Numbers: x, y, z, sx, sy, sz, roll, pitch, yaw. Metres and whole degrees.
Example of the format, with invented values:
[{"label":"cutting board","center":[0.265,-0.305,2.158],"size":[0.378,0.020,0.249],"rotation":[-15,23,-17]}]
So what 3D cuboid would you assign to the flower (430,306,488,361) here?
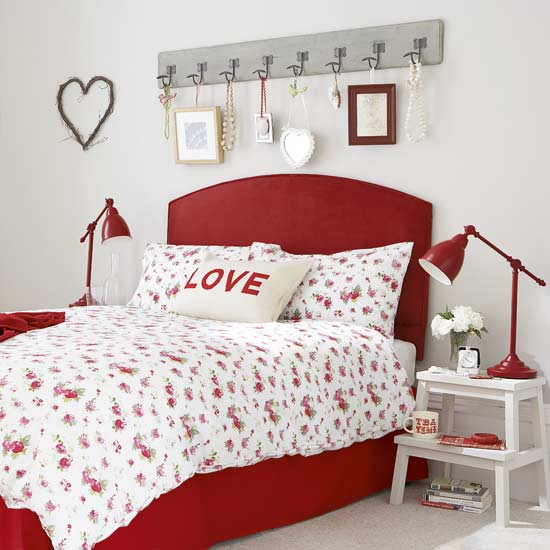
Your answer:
[{"label":"flower","center":[0.830,0.229,2.283],"size":[0.232,0.252,0.231],"rotation":[0,-1,-29]}]

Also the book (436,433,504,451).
[{"label":"book","center":[0.737,0.624,1.997],"size":[0.239,0.042,0.245],"rotation":[0,-7,5]}]

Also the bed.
[{"label":"bed","center":[-0.124,0.250,2.249],"size":[1.336,1.039,1.391],"rotation":[4,5,44]}]

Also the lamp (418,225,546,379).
[{"label":"lamp","center":[0.846,0.103,2.063],"size":[0.651,0.593,0.295],"rotation":[5,-7,-38]}]

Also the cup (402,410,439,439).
[{"label":"cup","center":[0.566,0.588,2.071],"size":[0.133,0.094,0.088],"rotation":[0,-5,-6]}]

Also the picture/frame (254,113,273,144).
[{"label":"picture/frame","center":[-0.065,-0.816,2.954],"size":[0.153,0.209,0.022],"rotation":[7,11,42]}]

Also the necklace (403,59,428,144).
[{"label":"necklace","center":[0.672,-0.840,2.533],"size":[0.113,0.395,0.093],"rotation":[-1,-5,23]}]

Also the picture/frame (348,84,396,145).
[{"label":"picture/frame","center":[0.497,-0.797,2.632],"size":[0.287,0.374,0.025],"rotation":[1,2,29]}]

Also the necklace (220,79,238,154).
[{"label":"necklace","center":[-0.280,-0.926,3.109],"size":[0.058,0.398,0.087],"rotation":[6,-7,-44]}]
